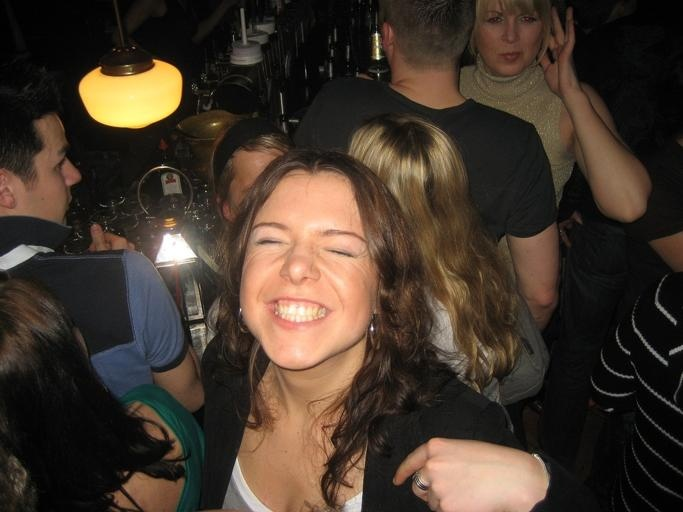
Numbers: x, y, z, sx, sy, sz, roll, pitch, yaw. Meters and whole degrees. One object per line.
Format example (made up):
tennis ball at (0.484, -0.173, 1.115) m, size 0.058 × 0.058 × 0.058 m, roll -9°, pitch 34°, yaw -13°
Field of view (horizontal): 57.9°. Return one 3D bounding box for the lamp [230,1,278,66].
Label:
lamp at (-0.576, -1.399, 3.919) m, size 0.226 × 0.352 × 0.470 m, roll 2°, pitch 39°, yaw -2°

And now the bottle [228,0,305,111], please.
bottle at (-0.467, -1.479, 4.385) m, size 0.273 × 0.349 × 1.486 m, roll -7°, pitch 32°, yaw 19°
